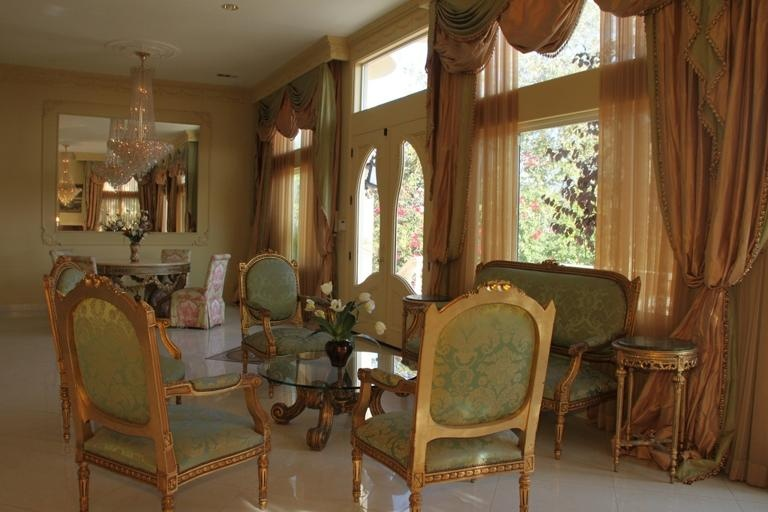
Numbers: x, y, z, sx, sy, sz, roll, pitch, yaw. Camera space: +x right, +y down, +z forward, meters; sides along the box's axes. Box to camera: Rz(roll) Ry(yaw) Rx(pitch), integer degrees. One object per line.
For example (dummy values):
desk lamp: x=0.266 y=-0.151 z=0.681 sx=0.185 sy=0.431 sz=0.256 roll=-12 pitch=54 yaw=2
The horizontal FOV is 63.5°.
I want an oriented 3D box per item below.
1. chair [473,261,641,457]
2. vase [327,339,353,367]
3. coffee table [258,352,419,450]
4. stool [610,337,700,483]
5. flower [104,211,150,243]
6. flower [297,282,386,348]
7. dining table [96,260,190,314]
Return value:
chair: x=1.373 y=0.834 z=4.687 sx=0.833 sy=1.263 sz=1.509 roll=2 pitch=-2 yaw=-26
vase: x=-0.369 y=0.801 z=5.134 sx=0.213 sy=0.184 sz=0.218 roll=-2 pitch=-5 yaw=29
coffee table: x=-0.538 y=1.119 z=5.152 sx=0.897 sy=0.373 sz=0.891 roll=0 pitch=1 yaw=-45
stool: x=2.113 y=1.170 z=4.877 sx=0.604 sy=1.032 sz=0.534 roll=3 pitch=4 yaw=27
flower: x=-4.160 y=-0.507 z=10.040 sx=0.805 sy=0.492 sz=0.738 roll=-2 pitch=5 yaw=-23
flower: x=-0.402 y=0.528 z=5.445 sx=0.793 sy=0.626 sz=0.790 roll=0 pitch=-9 yaw=12
dining table: x=-3.423 y=0.350 z=8.868 sx=1.188 sy=0.937 sz=1.411 roll=-1 pitch=3 yaw=-16
